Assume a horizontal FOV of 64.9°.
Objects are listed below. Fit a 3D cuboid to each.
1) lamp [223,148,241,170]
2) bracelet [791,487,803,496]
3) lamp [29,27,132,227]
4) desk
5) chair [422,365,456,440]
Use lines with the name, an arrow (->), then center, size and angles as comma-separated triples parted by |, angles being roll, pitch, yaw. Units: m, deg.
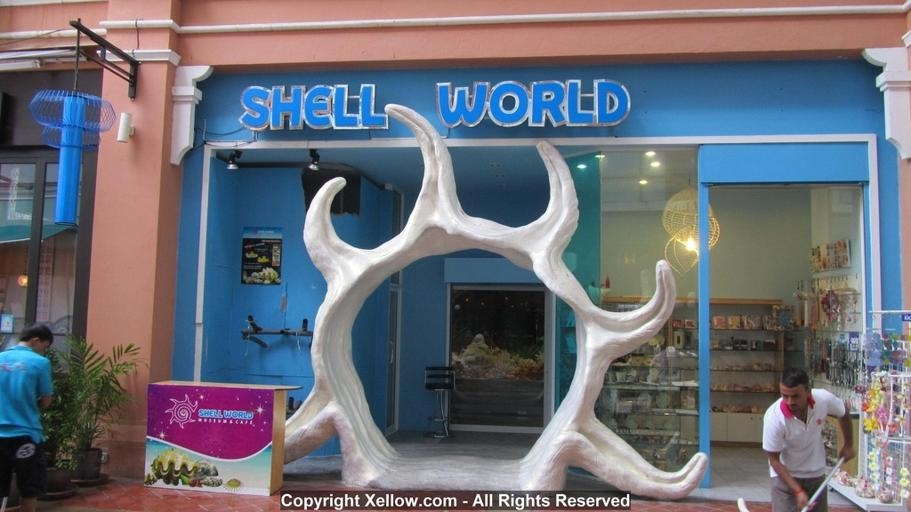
lamp -> -3.824, -1.710, 12.546 | 0.328, 0.385, 0.369 | -7, 12, -41
bracelet -> 4.112, 2.821, 8.594 | 0.079, 0.065, 0.027 | -20, -55, 8
lamp -> -6.038, -2.204, 11.595 | 1.112, 3.426, 1.226 | -1, -7, 13
desk -> -3.320, 2.794, 11.489 | 2.707, 1.640, 1.305 | -1, -3, 21
chair -> -0.293, 2.862, 14.291 | 0.599, 1.329, 0.676 | 1, -6, -1
